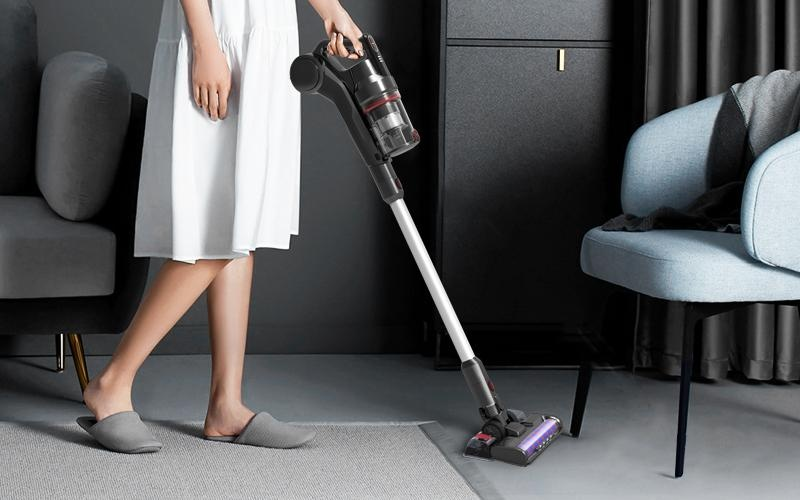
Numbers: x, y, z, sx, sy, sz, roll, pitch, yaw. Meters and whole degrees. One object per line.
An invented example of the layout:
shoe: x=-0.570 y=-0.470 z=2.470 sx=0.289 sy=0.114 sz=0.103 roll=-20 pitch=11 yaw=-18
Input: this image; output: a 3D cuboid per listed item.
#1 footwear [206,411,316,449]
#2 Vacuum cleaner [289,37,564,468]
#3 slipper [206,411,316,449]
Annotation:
footwear: x=-0.410 y=0.515 z=2.078 sx=0.256 sy=0.075 sz=0.128 roll=2 pitch=-2 yaw=-3
Vacuum cleaner: x=0.100 y=-0.001 z=2.066 sx=0.849 sy=1.184 sz=0.270 roll=7 pitch=11 yaw=13
slipper: x=-0.409 y=0.514 z=2.077 sx=0.256 sy=0.075 sz=0.128 roll=2 pitch=-2 yaw=-3
